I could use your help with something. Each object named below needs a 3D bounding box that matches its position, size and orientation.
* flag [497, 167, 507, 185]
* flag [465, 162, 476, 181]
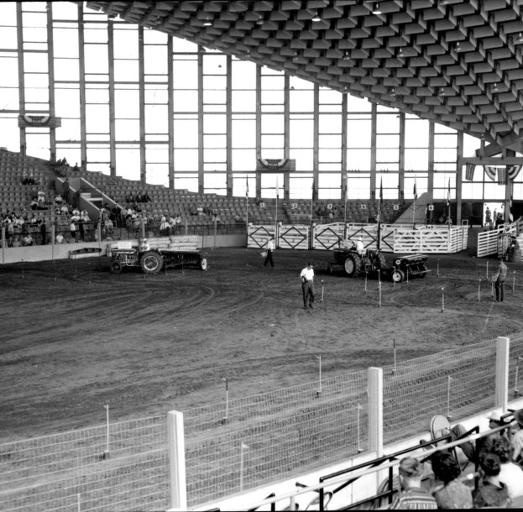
[{"bbox_3d":[14.042,-4.701,67.051,0.466,0.994,1.600,-3,0,-3],"label":"flag"},{"bbox_3d":[12.280,-5.021,67.835,0.590,1.021,1.973,-3,0,10],"label":"flag"}]
